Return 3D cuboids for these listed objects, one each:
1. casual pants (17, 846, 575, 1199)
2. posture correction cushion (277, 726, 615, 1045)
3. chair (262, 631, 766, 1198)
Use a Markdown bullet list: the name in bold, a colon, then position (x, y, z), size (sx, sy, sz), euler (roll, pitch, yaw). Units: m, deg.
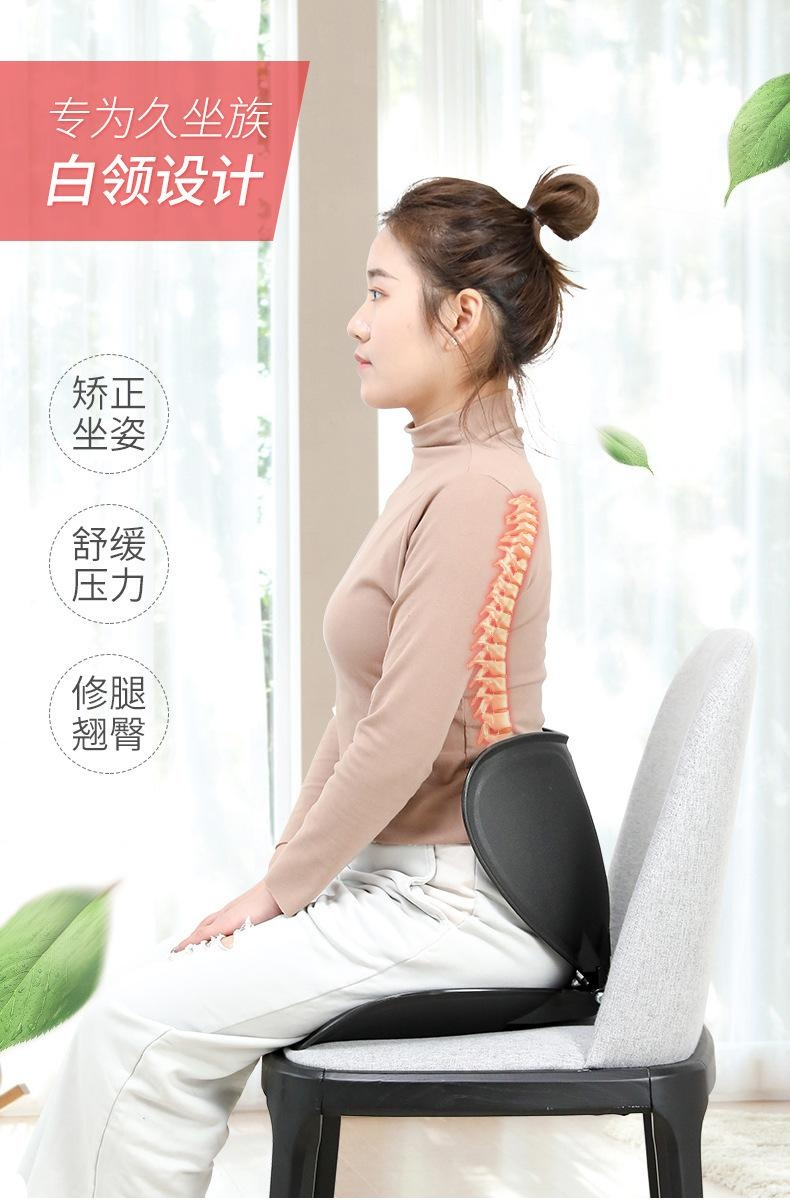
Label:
- **casual pants**: position (-0.101, 0.323, 1.047), size (0.444, 0.216, 0.240), euler (-19, 12, -2)
- **posture correction cushion**: position (0.060, 0.247, 1.103), size (0.277, 0.241, 0.292), euler (0, -12, 6)
- **chair**: position (0.156, 0.253, 1.254), size (0.537, 0.616, 0.476), euler (2, -11, 1)
